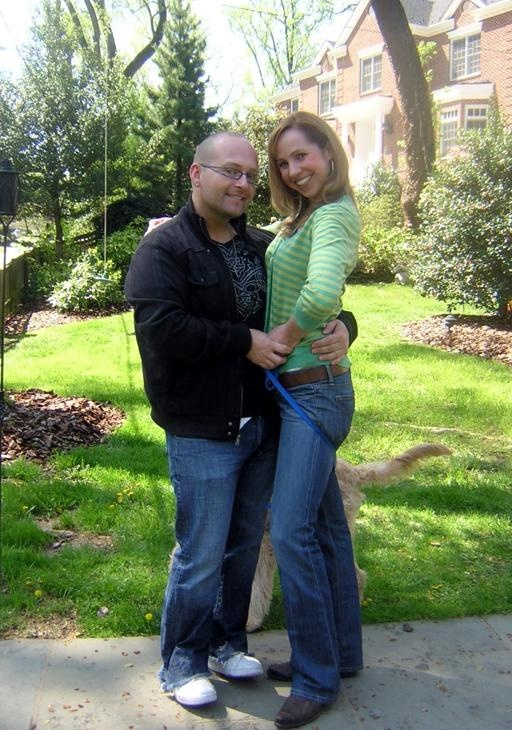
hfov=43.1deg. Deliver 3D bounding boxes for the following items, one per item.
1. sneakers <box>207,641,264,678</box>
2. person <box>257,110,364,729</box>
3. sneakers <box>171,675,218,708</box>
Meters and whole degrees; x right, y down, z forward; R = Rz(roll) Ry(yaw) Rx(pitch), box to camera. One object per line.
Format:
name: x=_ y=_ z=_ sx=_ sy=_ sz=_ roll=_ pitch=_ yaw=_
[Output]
sneakers: x=-0.083 y=1.110 z=2.472 sx=0.103 sy=0.082 sz=0.219 roll=7 pitch=-14 yaw=-42
person: x=0.177 y=0.121 z=2.306 sx=0.379 sy=2.059 sz=0.700 roll=4 pitch=7 yaw=-1
sneakers: x=-0.215 y=1.105 z=2.203 sx=0.147 sy=0.091 sz=0.099 roll=3 pitch=6 yaw=-7
